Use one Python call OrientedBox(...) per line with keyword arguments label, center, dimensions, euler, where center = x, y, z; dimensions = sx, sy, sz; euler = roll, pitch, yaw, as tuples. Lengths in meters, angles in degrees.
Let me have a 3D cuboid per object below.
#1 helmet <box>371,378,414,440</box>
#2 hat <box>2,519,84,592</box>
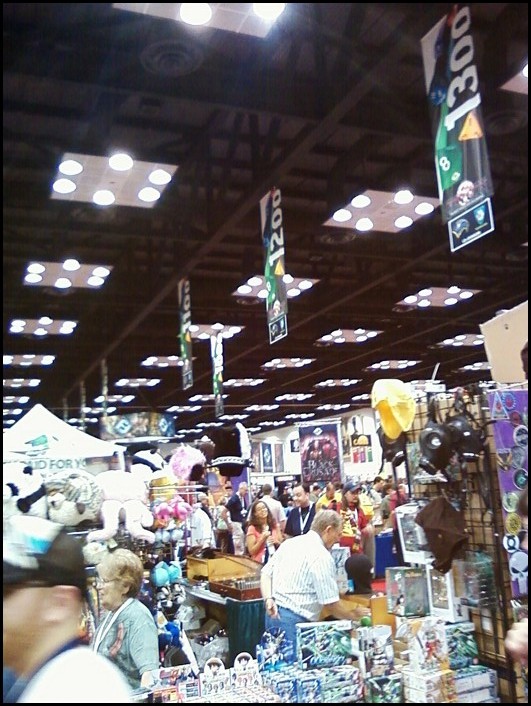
OrientedBox(label="helmet", center=(0.784, 0.333, 3.339), dimensions=(0.276, 0.356, 0.255), euler=(-1, -7, 39))
OrientedBox(label="hat", center=(-0.797, 0.689, 1.924), dimensions=(0.214, 0.252, 0.278), euler=(8, -16, -35))
